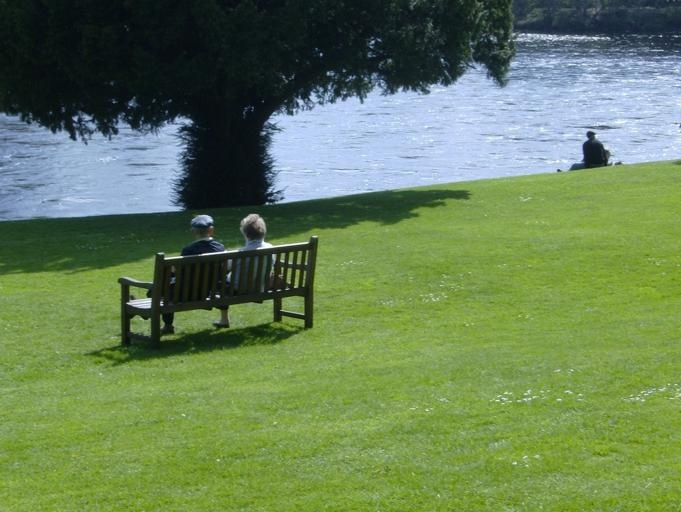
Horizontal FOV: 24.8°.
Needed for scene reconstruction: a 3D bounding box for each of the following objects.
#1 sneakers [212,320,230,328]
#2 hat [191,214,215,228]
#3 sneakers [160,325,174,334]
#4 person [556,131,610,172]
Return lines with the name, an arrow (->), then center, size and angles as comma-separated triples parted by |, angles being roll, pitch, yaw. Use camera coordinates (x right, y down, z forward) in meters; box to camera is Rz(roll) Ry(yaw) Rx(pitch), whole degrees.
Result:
sneakers -> -2.496, 1.376, 32.033 | 0.348, 0.123, 0.147 | 7, 7, 37
hat -> -2.970, -0.827, 33.116 | 0.576, 0.193, 0.653 | -2, 12, -8
sneakers -> -3.587, 1.476, 31.747 | 0.221, 0.175, 0.202 | 1, -2, -27
person -> 7.484, -3.357, 46.489 | 1.091, 1.188, 2.177 | 0, 5, 8
